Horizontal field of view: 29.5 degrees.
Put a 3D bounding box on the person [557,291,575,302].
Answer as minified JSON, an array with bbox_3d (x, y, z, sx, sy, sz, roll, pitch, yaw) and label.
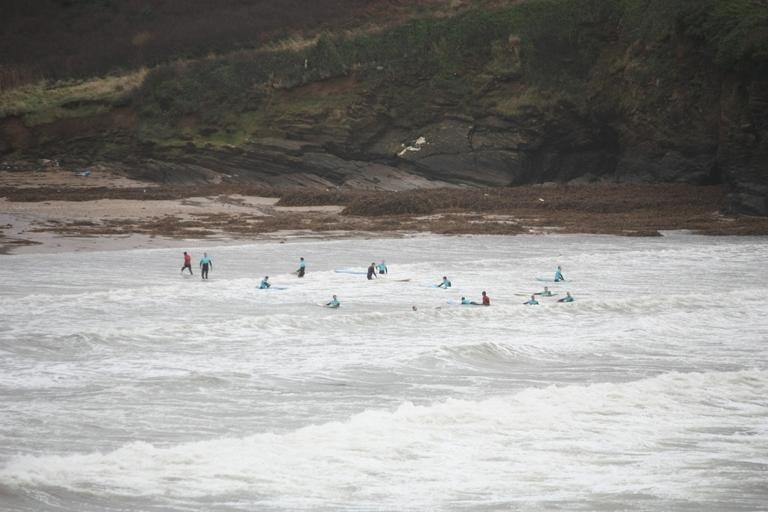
[{"bbox_3d":[12.279,2.754,97.921,1.145,0.639,1.334,3,8,6],"label":"person"}]

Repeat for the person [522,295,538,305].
[{"bbox_3d":[9.895,2.940,97.514,1.017,0.586,0.981,2,8,2],"label":"person"}]

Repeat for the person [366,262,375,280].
[{"bbox_3d":[-0.800,1.043,101.302,0.598,1.072,1.293,3,9,-1],"label":"person"}]

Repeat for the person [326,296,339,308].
[{"bbox_3d":[-3.351,3.021,96.959,0.949,0.826,1.081,2,9,0],"label":"person"}]

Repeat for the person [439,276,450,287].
[{"bbox_3d":[4.177,1.816,100.085,0.856,0.405,0.393,-7,26,-8],"label":"person"}]

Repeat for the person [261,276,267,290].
[{"bbox_3d":[-8.071,1.817,99.054,0.667,0.789,0.534,2,10,-3],"label":"person"}]

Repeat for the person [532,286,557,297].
[{"bbox_3d":[11.023,2.434,99.109,1.621,0.531,1.421,2,8,6],"label":"person"}]
